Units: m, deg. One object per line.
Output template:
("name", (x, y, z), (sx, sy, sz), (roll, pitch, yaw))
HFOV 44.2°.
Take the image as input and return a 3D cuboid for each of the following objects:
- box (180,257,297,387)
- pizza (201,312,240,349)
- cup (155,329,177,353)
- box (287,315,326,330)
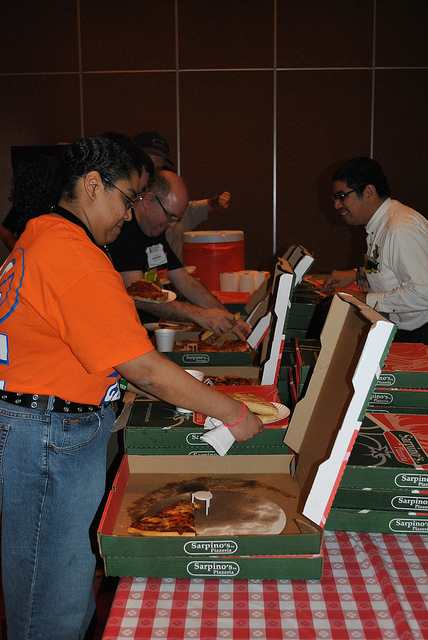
("box", (0.043, 0.010, 1.909), (0.329, 0.398, 0.438), (19, 0, -2))
("pizza", (0.028, 0.058, 2.226), (0.063, 0.190, 0.084), (38, 32, -23))
("cup", (-0.191, 0.081, 2.093), (0.091, 0.081, 0.086), (2, 7, 0))
("box", (0.384, 0.012, 2.212), (0.134, 0.084, 0.069), (2, 27, 3))
